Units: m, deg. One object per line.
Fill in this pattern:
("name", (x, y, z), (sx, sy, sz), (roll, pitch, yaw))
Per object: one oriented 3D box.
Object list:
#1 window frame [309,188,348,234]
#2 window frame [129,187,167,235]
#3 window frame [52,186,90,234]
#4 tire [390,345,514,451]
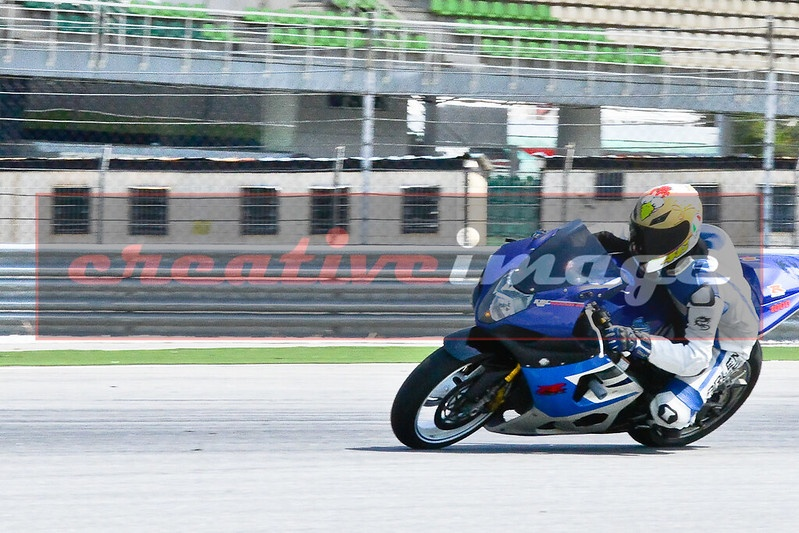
("window frame", (-0.828, -0.644, 22.505), (0.829, 0.602, 0.113), (1, 6, 27))
("window frame", (-2.959, -0.640, 22.520), (0.432, 0.547, 0.114), (0, 0, -14))
("window frame", (-3.900, -0.659, 22.664), (0.454, 0.553, 0.320), (0, 0, -6))
("tire", (0.411, 1.331, 18.917), (0.999, 0.998, 0.281), (0, 0, 1))
